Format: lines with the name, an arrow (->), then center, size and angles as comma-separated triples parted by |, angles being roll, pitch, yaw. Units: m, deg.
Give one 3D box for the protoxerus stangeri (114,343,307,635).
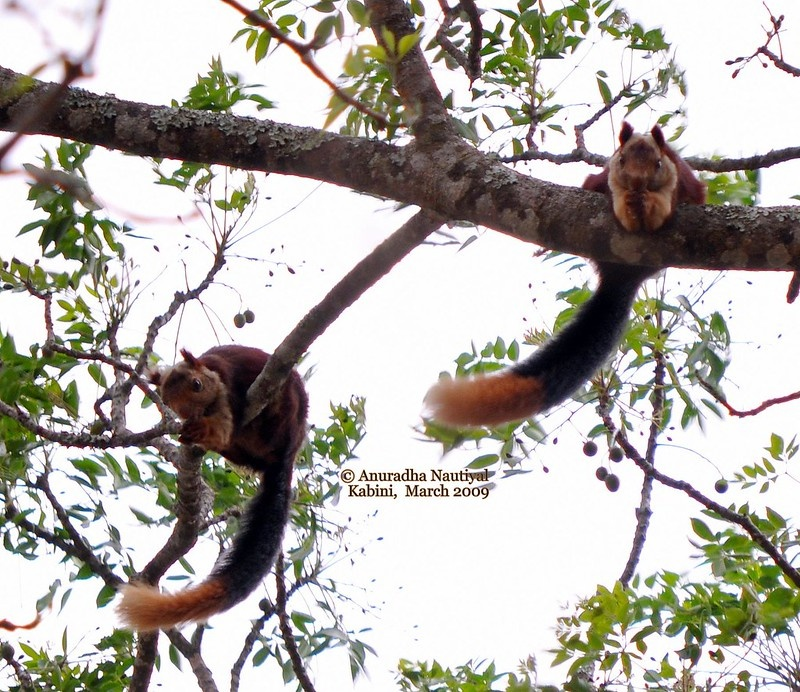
protoxerus stangeri -> -0.709, 0.523, 5.161 | 0.616, 1.379, 0.820 | 6, -51, -3
